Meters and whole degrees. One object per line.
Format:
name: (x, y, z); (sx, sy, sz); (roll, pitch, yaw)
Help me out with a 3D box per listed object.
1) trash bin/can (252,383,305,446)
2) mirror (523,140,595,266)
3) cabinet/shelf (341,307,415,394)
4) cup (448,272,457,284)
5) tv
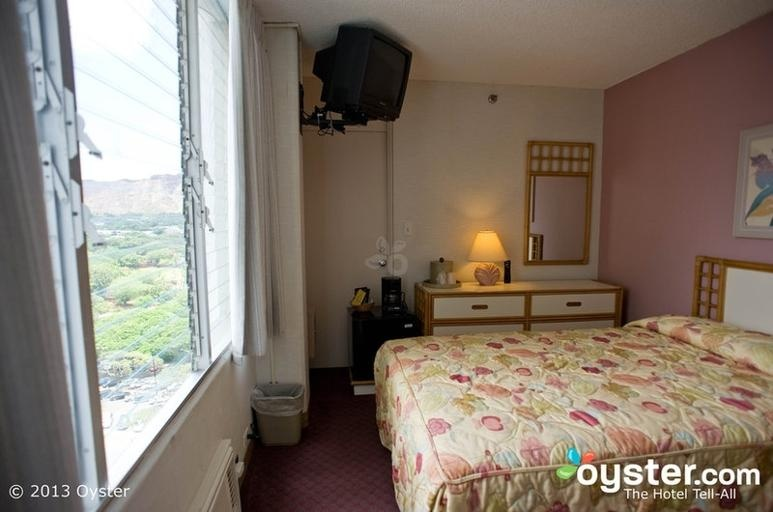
trash bin/can: (-0.751, 1.139, 3.678); (0.415, 0.348, 0.350); (-1, 5, -1)
mirror: (1.685, -0.509, 4.906); (0.718, 1.182, 0.140); (-2, 8, -15)
cabinet/shelf: (-0.084, 0.806, 4.454); (0.634, 0.596, 0.624); (-1, 5, -4)
cup: (0.593, 0.209, 4.625); (0.095, 0.103, 0.092); (-1, 5, 0)
tv: (-0.255, -1.408, 3.909); (0.735, 0.522, 0.734); (15, 15, 15)
